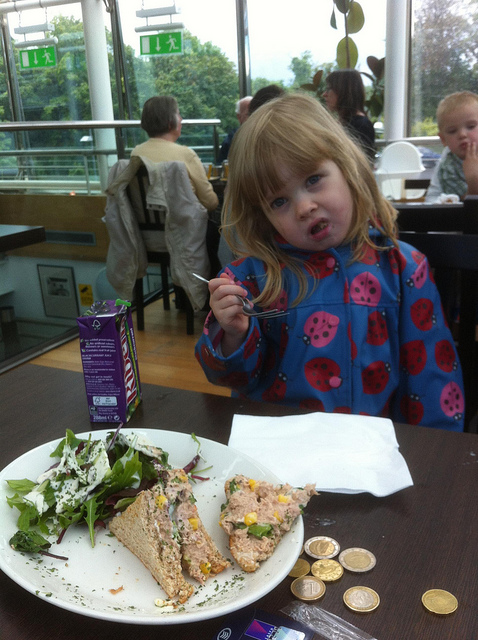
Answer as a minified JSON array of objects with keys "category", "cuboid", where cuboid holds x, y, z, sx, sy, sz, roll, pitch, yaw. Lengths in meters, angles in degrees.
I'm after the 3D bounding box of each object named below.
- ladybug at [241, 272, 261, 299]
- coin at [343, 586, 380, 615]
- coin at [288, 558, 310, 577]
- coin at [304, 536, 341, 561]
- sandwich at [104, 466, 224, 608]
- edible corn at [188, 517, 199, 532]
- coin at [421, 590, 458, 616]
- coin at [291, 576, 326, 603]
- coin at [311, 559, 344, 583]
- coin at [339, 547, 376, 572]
[{"category":"ladybug","cuboid":[0.026,-0.068,0.968,0.011,0.041,0.030,-21,-10,-3]},{"category":"coin","cuboid":[0.095,0.216,0.392,0.027,0.003,0.027,-5,16,1]},{"category":"coin","cuboid":[0.054,0.211,0.432,0.015,0.003,0.024,3,18,28]},{"category":"coin","cuboid":[0.074,0.203,0.452,0.031,0.004,0.034,-5,16,1]},{"category":"sandwich","cuboid":[-0.063,0.190,0.441,0.076,0.030,0.081,23,15,31]},{"category":"edible corn","cuboid":[-0.040,0.183,0.458,0.008,0.009,0.004,-27,-14,-41]},{"category":"coin","cuboid":[0.152,0.213,0.383,0.026,0.003,0.024,-5,16,1]},{"category":"coin","cuboid":[0.056,0.216,0.408,0.027,0.003,0.027,-5,16,1]},{"category":"coin","cuboid":[0.074,0.210,0.426,0.026,0.003,0.026,-5,16,1]},{"category":"coin","cuboid":[0.101,0.205,0.433,0.031,0.002,0.028,-5,16,1]}]
